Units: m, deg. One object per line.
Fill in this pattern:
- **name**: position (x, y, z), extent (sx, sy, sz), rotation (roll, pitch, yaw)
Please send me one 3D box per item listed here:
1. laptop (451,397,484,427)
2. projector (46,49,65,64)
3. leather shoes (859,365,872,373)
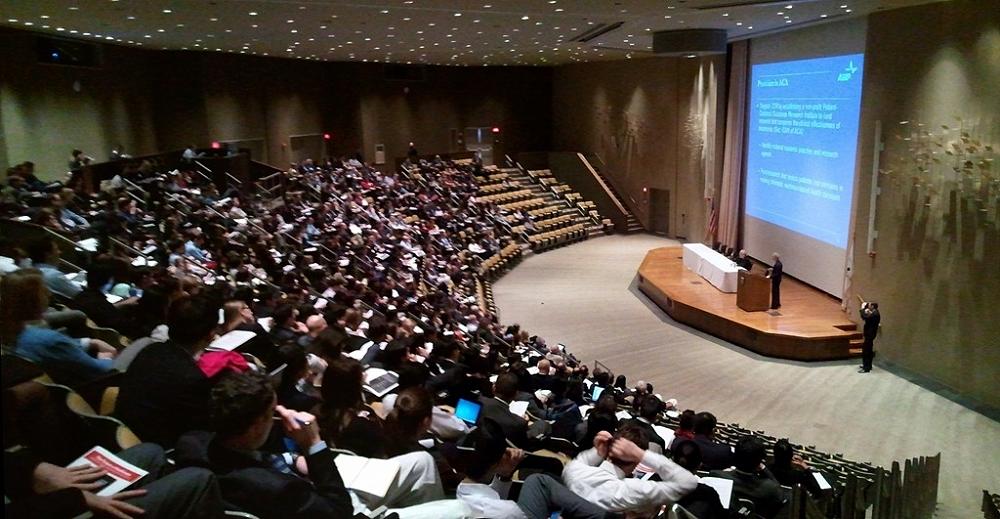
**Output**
- **laptop**: position (-0.405, 2.038, 7.747), extent (0.422, 0.358, 0.317), rotation (19, -10, 2)
- **projector**: position (-13.040, -5.929, 16.649), extent (0.313, 0.219, 0.327), rotation (-14, 43, -27)
- **leather shoes**: position (9.016, 2.728, 14.077), extent (0.135, 0.139, 0.376), rotation (-4, -1, -15)
